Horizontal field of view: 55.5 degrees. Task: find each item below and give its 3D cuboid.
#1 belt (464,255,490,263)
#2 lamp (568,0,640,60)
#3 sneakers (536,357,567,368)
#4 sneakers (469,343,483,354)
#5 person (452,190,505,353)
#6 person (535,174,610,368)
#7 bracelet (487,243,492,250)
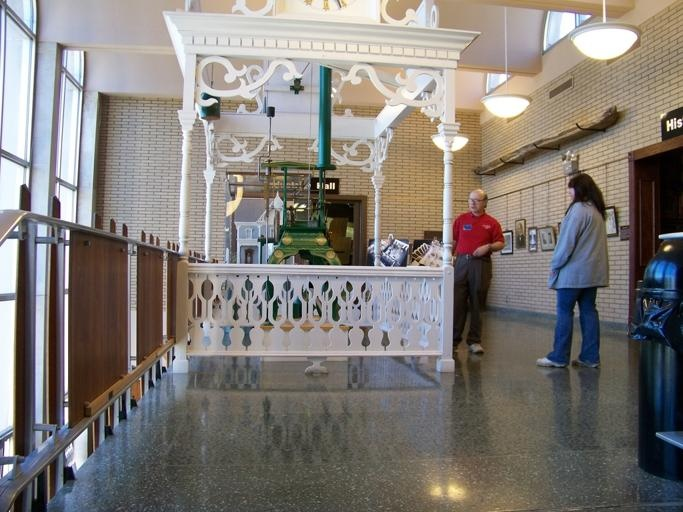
[{"bbox_3d":[1.601,0.015,7.438,0.297,0.079,0.126,-3,10,-19],"label":"belt"},{"bbox_3d":[2.872,-2.389,6.921,0.701,0.425,0.531,-3,10,-20],"label":"lamp"},{"bbox_3d":[2.114,1.078,6.516,0.273,0.142,0.110,5,-1,17],"label":"sneakers"},{"bbox_3d":[1.530,1.041,7.353,0.138,0.095,0.201,1,10,4],"label":"sneakers"},{"bbox_3d":[1.561,0.180,7.454,0.558,1.884,0.745,2,9,11],"label":"person"},{"bbox_3d":[2.347,0.148,6.459,0.630,1.945,0.491,-6,10,-38],"label":"person"},{"bbox_3d":[1.675,-0.117,7.351,0.058,0.101,0.087,1,-1,5],"label":"bracelet"}]
